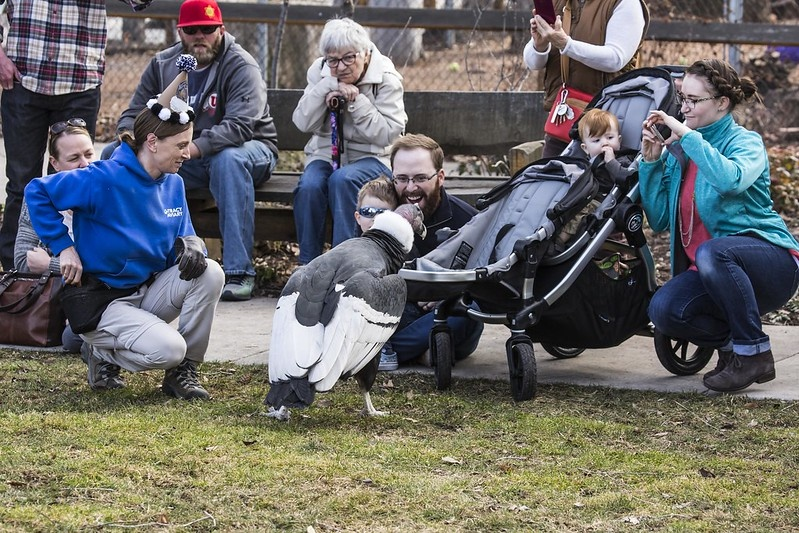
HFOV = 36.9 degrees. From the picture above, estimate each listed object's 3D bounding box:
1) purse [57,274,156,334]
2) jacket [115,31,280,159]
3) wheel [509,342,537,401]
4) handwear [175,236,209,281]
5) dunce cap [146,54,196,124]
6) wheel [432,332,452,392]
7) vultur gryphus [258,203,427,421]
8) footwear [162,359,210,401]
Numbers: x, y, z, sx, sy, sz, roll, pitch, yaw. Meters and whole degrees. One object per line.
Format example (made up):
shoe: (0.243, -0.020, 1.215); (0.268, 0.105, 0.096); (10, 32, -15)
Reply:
purse: (-1.786, 0.217, 7.516); (0.374, 0.363, 0.595); (3, -2, -4)
jacket: (-1.623, -1.277, 9.609); (1.295, 0.982, 1.361); (0, 21, -8)
wheel: (0.765, 0.652, 7.496); (0.176, 0.376, 0.129); (4, 4, 12)
handwear: (-1.297, -0.075, 7.424); (0.202, 0.282, 0.131); (2, -33, -28)
dunce cap: (-1.716, -1.447, 9.326); (0.338, 0.391, 0.321); (24, 20, 1)
wheel: (0.275, 0.593, 7.703); (0.122, 0.353, 0.326); (-1, -11, 0)
vultur gryphus: (-0.335, 0.238, 7.013); (0.840, 1.137, 0.508); (2, 4, -19)
footwear: (-1.337, 0.683, 7.482); (0.148, 0.288, 0.430); (0, 9, -40)
